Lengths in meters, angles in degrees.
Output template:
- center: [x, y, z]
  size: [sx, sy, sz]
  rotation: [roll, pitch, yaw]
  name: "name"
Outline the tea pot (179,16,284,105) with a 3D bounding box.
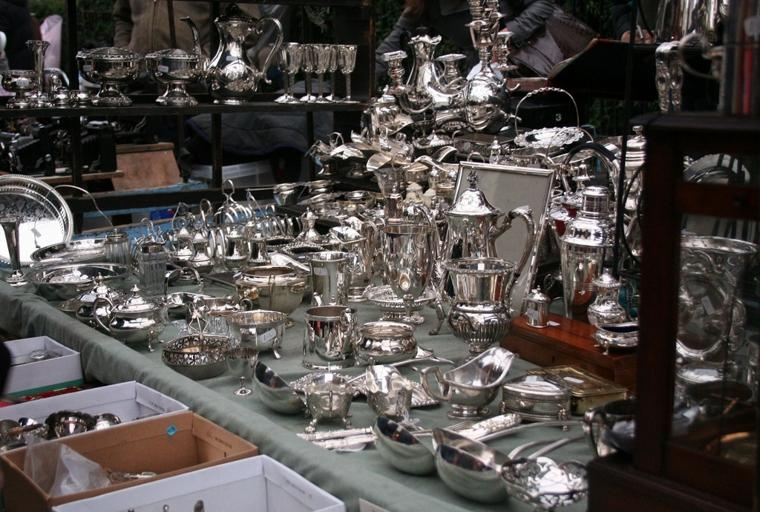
- center: [-0.816, -1.107, 4.189]
  size: [0.562, 0.480, 0.280]
  rotation: [0, 18, -3]
  name: "tea pot"
